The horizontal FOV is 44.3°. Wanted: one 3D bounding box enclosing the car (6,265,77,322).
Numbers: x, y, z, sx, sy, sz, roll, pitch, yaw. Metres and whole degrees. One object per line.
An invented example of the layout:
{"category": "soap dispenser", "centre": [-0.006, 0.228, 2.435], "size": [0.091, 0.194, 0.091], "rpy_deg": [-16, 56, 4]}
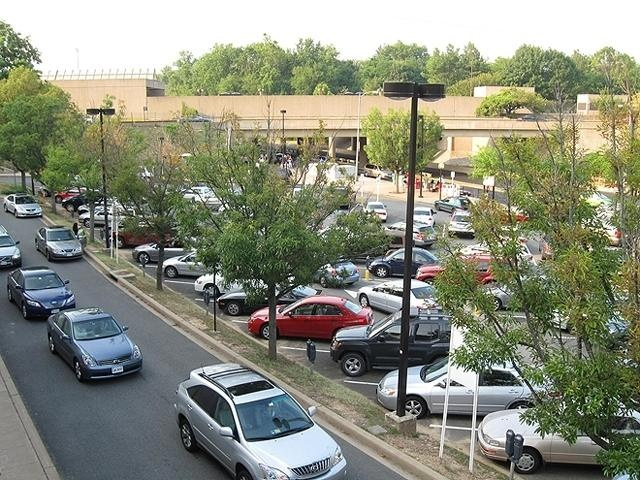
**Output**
{"category": "car", "centre": [-10.733, 2.108, 30.949], "size": [1.719, 1.679, 2.610], "rpy_deg": [-10, 11, -41]}

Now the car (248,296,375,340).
{"category": "car", "centre": [-0.294, 3.033, 30.165], "size": [4.107, 1.571, 1.883], "rpy_deg": [2, 6, 8]}

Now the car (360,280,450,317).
{"category": "car", "centre": [3.204, 2.321, 32.244], "size": [2.744, 1.049, 1.280], "rpy_deg": [7, 8, 41]}

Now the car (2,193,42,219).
{"category": "car", "centre": [-18.868, -2.198, 50.533], "size": [1.332, 1.049, 2.914], "rpy_deg": [-4, 8, -34]}

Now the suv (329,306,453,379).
{"category": "suv", "centre": [2.406, 3.484, 27.270], "size": [3.929, 2.046, 1.960], "rpy_deg": [2, 10, 3]}

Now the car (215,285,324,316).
{"category": "car", "centre": [-2.185, 2.857, 32.448], "size": [3.770, 1.382, 1.721], "rpy_deg": [2, 5, 1]}

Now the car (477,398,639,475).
{"category": "car", "centre": [6.415, 5.629, 21.892], "size": [4.358, 1.683, 2.030], "rpy_deg": [3, 3, 6]}

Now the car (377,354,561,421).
{"category": "car", "centre": [4.183, 4.639, 24.480], "size": [4.526, 1.743, 2.067], "rpy_deg": [3, 6, 6]}
